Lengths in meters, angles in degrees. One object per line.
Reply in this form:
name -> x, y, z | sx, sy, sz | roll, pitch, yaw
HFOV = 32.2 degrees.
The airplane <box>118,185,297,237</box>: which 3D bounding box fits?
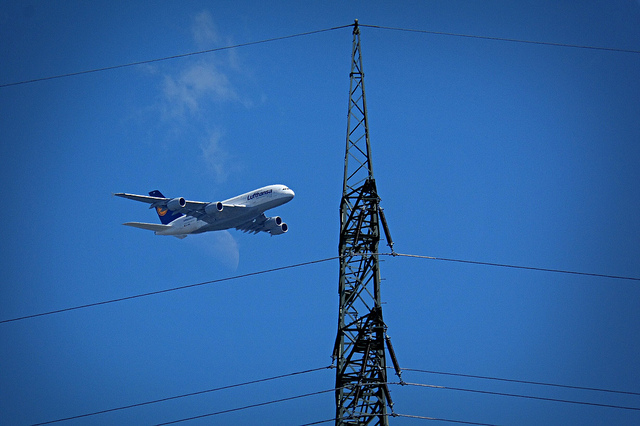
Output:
airplane -> -13.241, -0.159, 144.760 | 20.701, 30.941, 6.255 | -5, -85, 2
